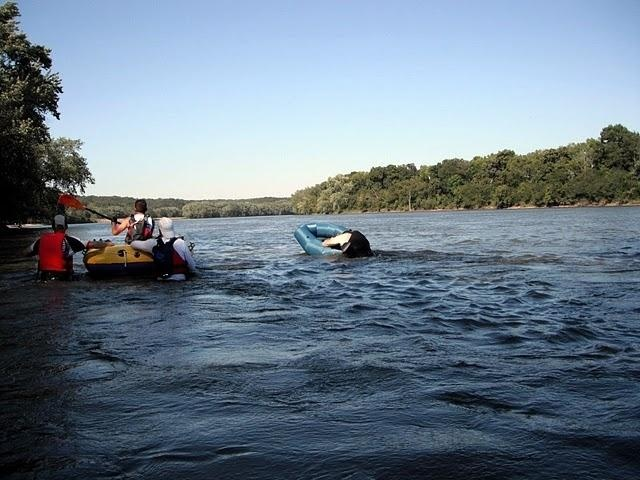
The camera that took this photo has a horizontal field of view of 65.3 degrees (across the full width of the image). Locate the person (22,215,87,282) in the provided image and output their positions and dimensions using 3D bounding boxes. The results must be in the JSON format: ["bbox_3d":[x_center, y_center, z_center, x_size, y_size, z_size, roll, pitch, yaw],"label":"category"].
[{"bbox_3d":[-6.726,0.214,12.686,0.834,1.740,1.108,6,11,35],"label":"person"}]

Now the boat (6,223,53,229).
[{"bbox_3d":[-31.616,-1.530,54.497,3.443,0.254,3.334,2,-2,-33],"label":"boat"}]

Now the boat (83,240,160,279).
[{"bbox_3d":[-5.474,0.582,13.699,2.032,0.519,1.047,4,-5,-13],"label":"boat"}]

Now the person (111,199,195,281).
[{"bbox_3d":[-4.412,-0.016,13.357,1.616,2.157,1.255,5,10,30],"label":"person"}]

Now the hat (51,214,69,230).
[{"bbox_3d":[-6.605,-0.455,12.742,0.461,0.402,0.488,3,4,-8],"label":"hat"}]

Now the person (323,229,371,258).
[{"bbox_3d":[0.994,0.153,19.086,1.452,0.529,1.241,-3,1,43],"label":"person"}]
